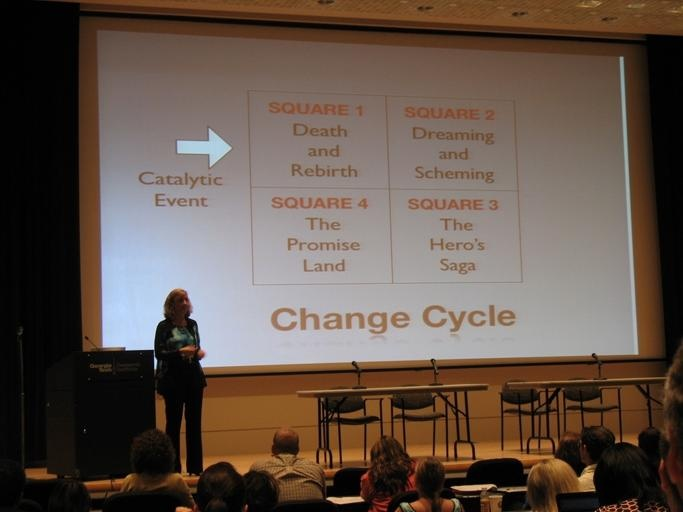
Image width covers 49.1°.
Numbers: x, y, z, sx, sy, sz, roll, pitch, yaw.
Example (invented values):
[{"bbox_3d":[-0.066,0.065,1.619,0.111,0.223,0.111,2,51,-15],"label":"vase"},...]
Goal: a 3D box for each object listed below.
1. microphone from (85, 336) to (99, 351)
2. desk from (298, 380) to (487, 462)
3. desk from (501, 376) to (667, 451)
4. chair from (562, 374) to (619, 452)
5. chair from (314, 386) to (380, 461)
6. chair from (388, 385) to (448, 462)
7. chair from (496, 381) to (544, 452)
[{"bbox_3d":[-2.790,0.967,8.364,0.019,0.222,0.229,-21,-7,-2],"label":"microphone"},{"bbox_3d":[0.508,1.848,8.258,2.116,0.714,0.606,-1,-14,-7],"label":"desk"},{"bbox_3d":[2.977,1.824,8.808,1.973,0.647,0.570,-3,-11,1],"label":"desk"},{"bbox_3d":[2.987,1.871,8.934,0.573,0.666,0.458,2,-13,-18],"label":"chair"},{"bbox_3d":[0.027,1.870,8.364,0.918,0.880,0.606,5,-12,-32],"label":"chair"},{"bbox_3d":[0.893,1.860,8.492,0.569,0.670,0.478,0,-6,-20],"label":"chair"},{"bbox_3d":[2.102,1.856,8.783,0.489,0.746,0.460,-1,-12,1],"label":"chair"}]
